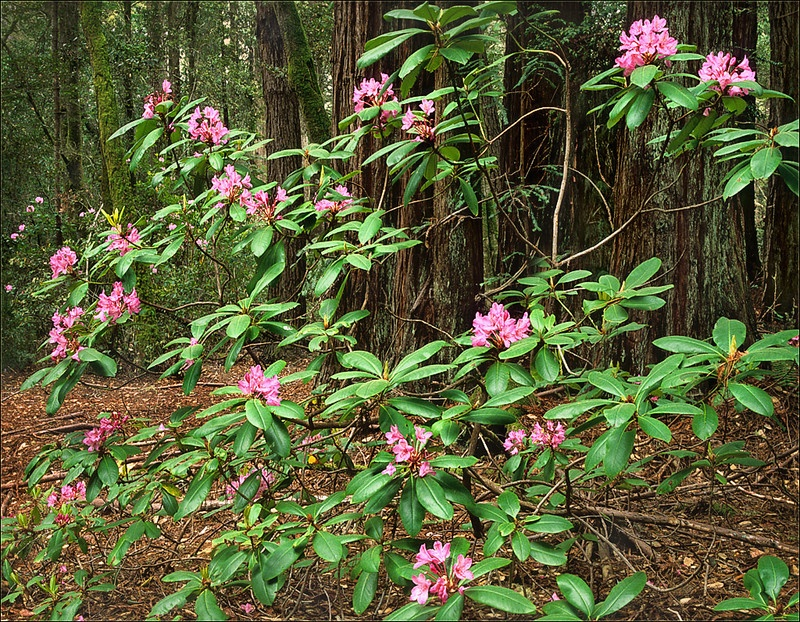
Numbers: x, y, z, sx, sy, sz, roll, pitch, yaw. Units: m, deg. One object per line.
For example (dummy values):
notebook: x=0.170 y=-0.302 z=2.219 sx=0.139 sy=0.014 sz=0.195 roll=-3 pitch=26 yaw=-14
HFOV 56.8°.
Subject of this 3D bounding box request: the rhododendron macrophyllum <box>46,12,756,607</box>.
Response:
rhododendron macrophyllum: x=0.155 y=0.018 z=5.239 sx=3.790 sy=5.284 sz=1.548 roll=6 pitch=12 yaw=7
